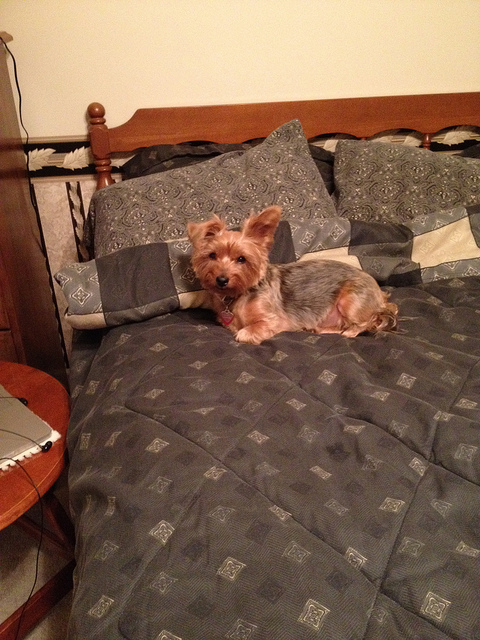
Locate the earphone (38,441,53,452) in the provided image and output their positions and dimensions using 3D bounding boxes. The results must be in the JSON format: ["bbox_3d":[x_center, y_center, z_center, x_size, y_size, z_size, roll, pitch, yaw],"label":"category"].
[{"bbox_3d":[-0.531,0.349,1.420,0.017,0.025,0.039,6,23,41],"label":"earphone"}]

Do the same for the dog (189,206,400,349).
[{"bbox_3d":[0.249,-0.173,2.062,0.963,0.454,0.382,-4,21,-23],"label":"dog"}]
